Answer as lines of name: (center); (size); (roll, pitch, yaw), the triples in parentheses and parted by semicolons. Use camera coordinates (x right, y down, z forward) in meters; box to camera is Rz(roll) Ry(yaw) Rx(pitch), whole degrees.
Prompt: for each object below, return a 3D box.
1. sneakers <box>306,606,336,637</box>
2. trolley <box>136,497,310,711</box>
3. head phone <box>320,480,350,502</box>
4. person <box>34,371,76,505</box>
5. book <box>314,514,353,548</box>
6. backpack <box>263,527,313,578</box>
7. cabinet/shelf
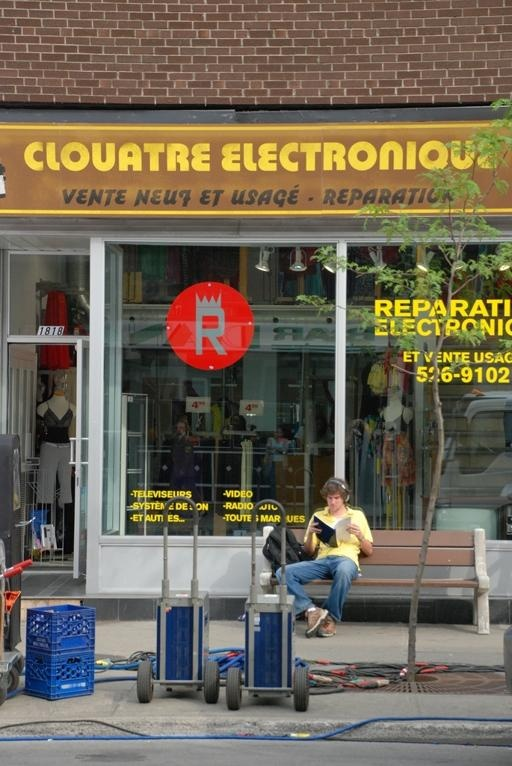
sneakers: (0.514, 1.878, 9.267); (0.146, 0.120, 0.347); (18, 27, -4)
trolley: (-0.234, 1.612, 8.559); (1.211, 1.475, 0.747); (0, -2, 4)
head phone: (0.653, 0.845, 9.671); (0.185, 0.226, 0.182); (0, 2, 9)
person: (-2.168, 0.614, 12.773); (0.404, 1.442, 0.323); (1, -4, -12)
book: (0.646, 1.152, 9.281); (0.277, 0.253, 0.339); (-6, -5, -21)
backpack: (0.249, 1.281, 9.717); (0.365, 0.169, 0.465); (7, 31, -22)
cabinet/shelf: (-1.087, 0.716, 10.607); (0.240, 1.233, 0.127); (1, -3, -6)
